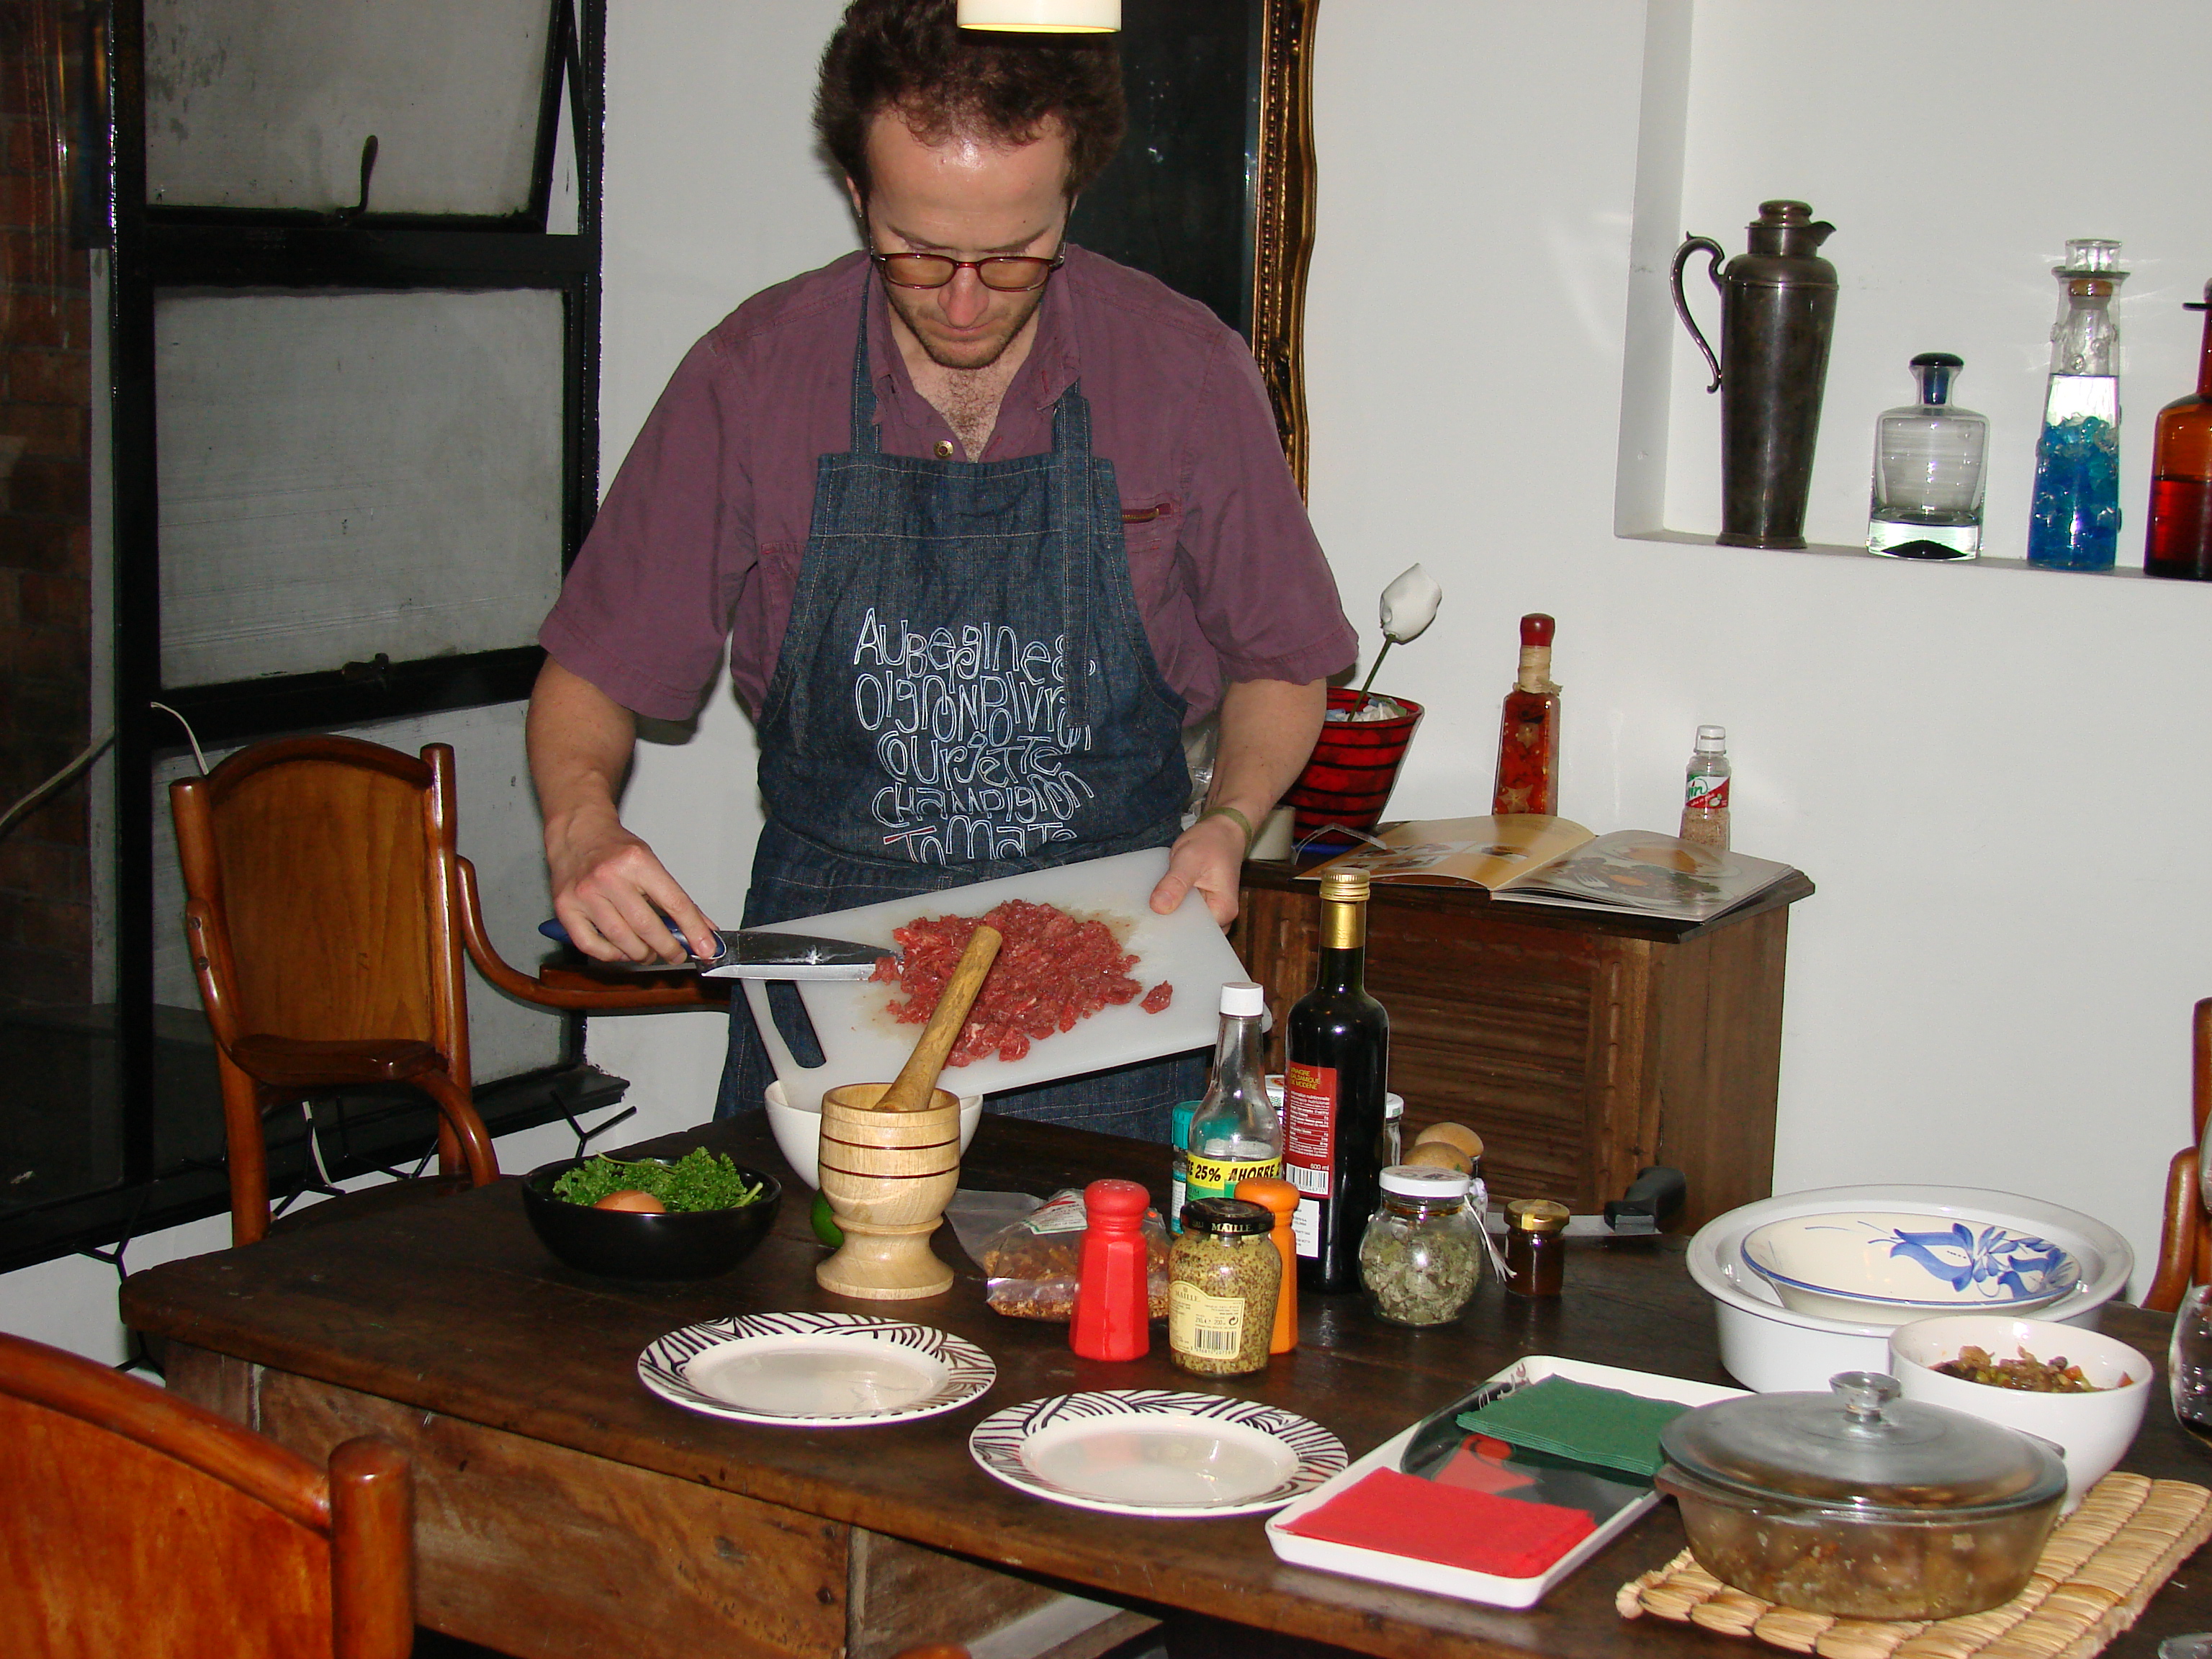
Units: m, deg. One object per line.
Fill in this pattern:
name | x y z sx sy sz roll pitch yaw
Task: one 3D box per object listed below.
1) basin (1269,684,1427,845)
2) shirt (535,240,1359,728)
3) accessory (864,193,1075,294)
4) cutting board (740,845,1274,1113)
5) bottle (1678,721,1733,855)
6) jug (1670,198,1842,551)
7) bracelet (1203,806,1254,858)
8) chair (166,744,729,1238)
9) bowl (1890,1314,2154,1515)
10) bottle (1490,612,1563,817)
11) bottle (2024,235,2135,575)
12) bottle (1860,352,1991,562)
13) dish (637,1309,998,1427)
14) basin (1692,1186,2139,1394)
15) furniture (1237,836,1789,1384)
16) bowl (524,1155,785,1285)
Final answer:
basin | 0.379 -0.108 3.211 0.258 0.225 0.255 9 2 0
shirt | -0.136 -0.416 2.291 1.078 0.674 0.398 1 34 0
accessory | -0.140 -0.561 1.875 0.179 0.055 0.088 -3 13 -4
cutting board | -0.119 0.171 1.899 0.415 0.089 0.260 -10 41 -12
bottle | 0.986 -0.061 3.114 0.081 0.218 0.214 2 15 18
jug | 1.099 -0.750 3.122 0.171 0.557 0.129 1 15 17
bracelet | 0.145 0.002 2.111 0.025 0.059 0.056 -32 -4 13
chair | -0.977 0.115 3.001 0.728 0.978 0.721 9 13 37
bowl | 0.644 0.392 1.345 0.145 0.077 0.145 2 8 0
bottle | 0.705 -0.184 3.184 0.103 0.340 0.140 0 15 11
bottle | 1.550 -0.677 3.000 0.128 0.511 0.253 4 16 27
bottle | 1.344 -0.612 3.089 0.171 0.325 0.178 -3 14 1
dish | -0.227 0.430 1.471 0.282 0.027 0.272 3 3 -20
basin | 0.658 0.371 1.583 0.223 0.060 0.211 1 15 0
furniture | 0.692 0.369 3.125 0.705 0.611 0.409 7 15 40
bowl | -0.397 0.347 1.692 0.195 0.069 0.197 1 8 0
